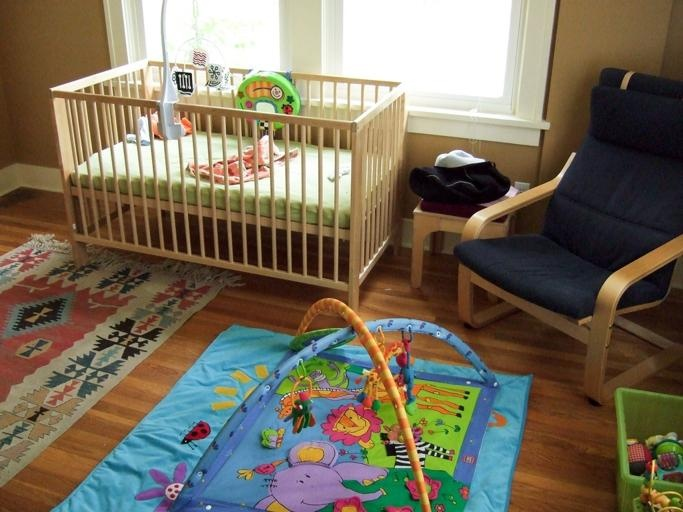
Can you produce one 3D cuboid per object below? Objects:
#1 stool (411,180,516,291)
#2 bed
[{"bbox_3d":[0.631,-0.116,3.127,0.616,0.495,0.560,11,38,20],"label":"stool"},{"bbox_3d":[-0.760,-0.554,3.306,2.195,1.183,1.242,13,39,16],"label":"bed"}]
